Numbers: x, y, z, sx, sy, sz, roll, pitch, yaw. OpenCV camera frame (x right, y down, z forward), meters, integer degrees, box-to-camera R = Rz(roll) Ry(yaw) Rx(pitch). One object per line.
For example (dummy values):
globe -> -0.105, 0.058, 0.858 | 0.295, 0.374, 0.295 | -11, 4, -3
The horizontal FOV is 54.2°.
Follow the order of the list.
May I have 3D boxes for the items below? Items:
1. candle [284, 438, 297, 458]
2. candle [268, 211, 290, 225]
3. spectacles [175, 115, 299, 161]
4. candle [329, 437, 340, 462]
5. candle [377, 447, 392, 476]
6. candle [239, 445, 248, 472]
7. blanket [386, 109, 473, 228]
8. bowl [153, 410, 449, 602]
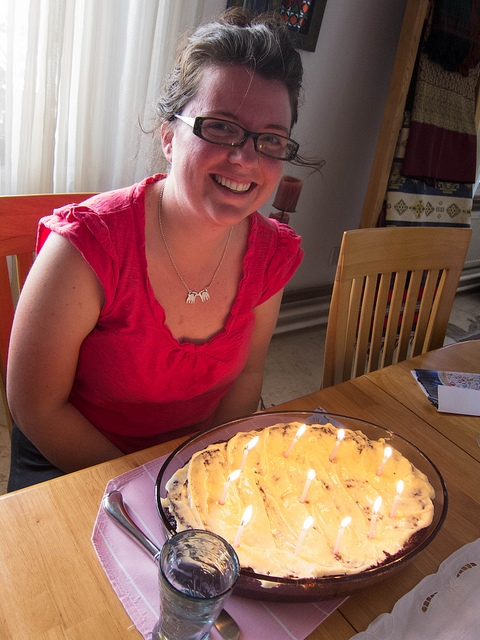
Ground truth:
candle -> 0.078, 0.198, 0.732 | 0.009, 0.029, 0.021 | 23, 26, 22
candle -> 0.170, -0.447, 2.073 | 0.080, 0.084, 0.075 | 1, 41, -2
spectacles -> 0.013, -0.312, 0.811 | 0.187, 0.047, 0.060 | -5, 29, -35
candle -> 0.151, 0.204, 0.746 | 0.008, 0.034, 0.027 | 22, 25, 19
candle -> 0.225, 0.220, 0.730 | 0.010, 0.036, 0.032 | 23, 26, 22
candle -> 0.006, 0.198, 0.680 | 0.008, 0.034, 0.026 | 15, 24, 4
blanket -> 1.032, -0.816, 2.637 | 0.455, 0.665, 0.315 | 21, 33, 38
bowl -> 0.087, 0.248, 0.655 | 0.371, 0.113, 0.300 | -5, 25, -19
